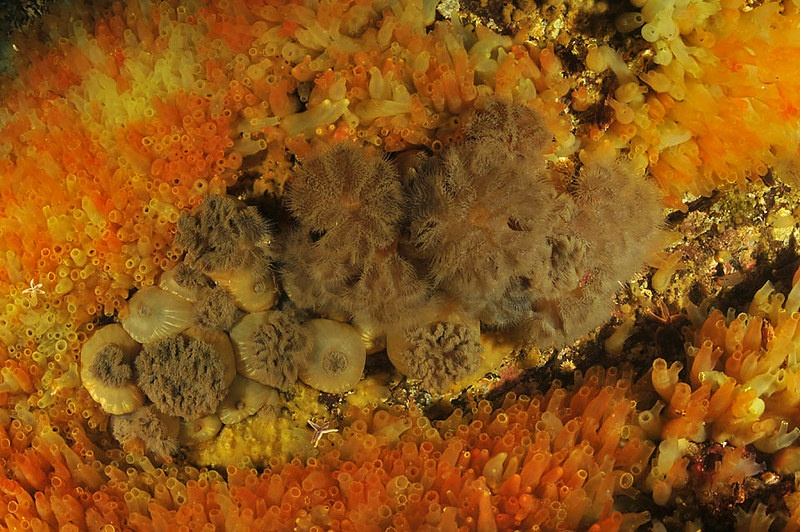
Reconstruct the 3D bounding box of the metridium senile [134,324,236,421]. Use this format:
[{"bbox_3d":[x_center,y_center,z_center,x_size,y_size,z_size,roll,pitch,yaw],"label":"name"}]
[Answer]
[{"bbox_3d":[-1.409,0.703,6.545,0.636,0.123,0.533,-19,83,-4],"label":"metridium senile"}]
